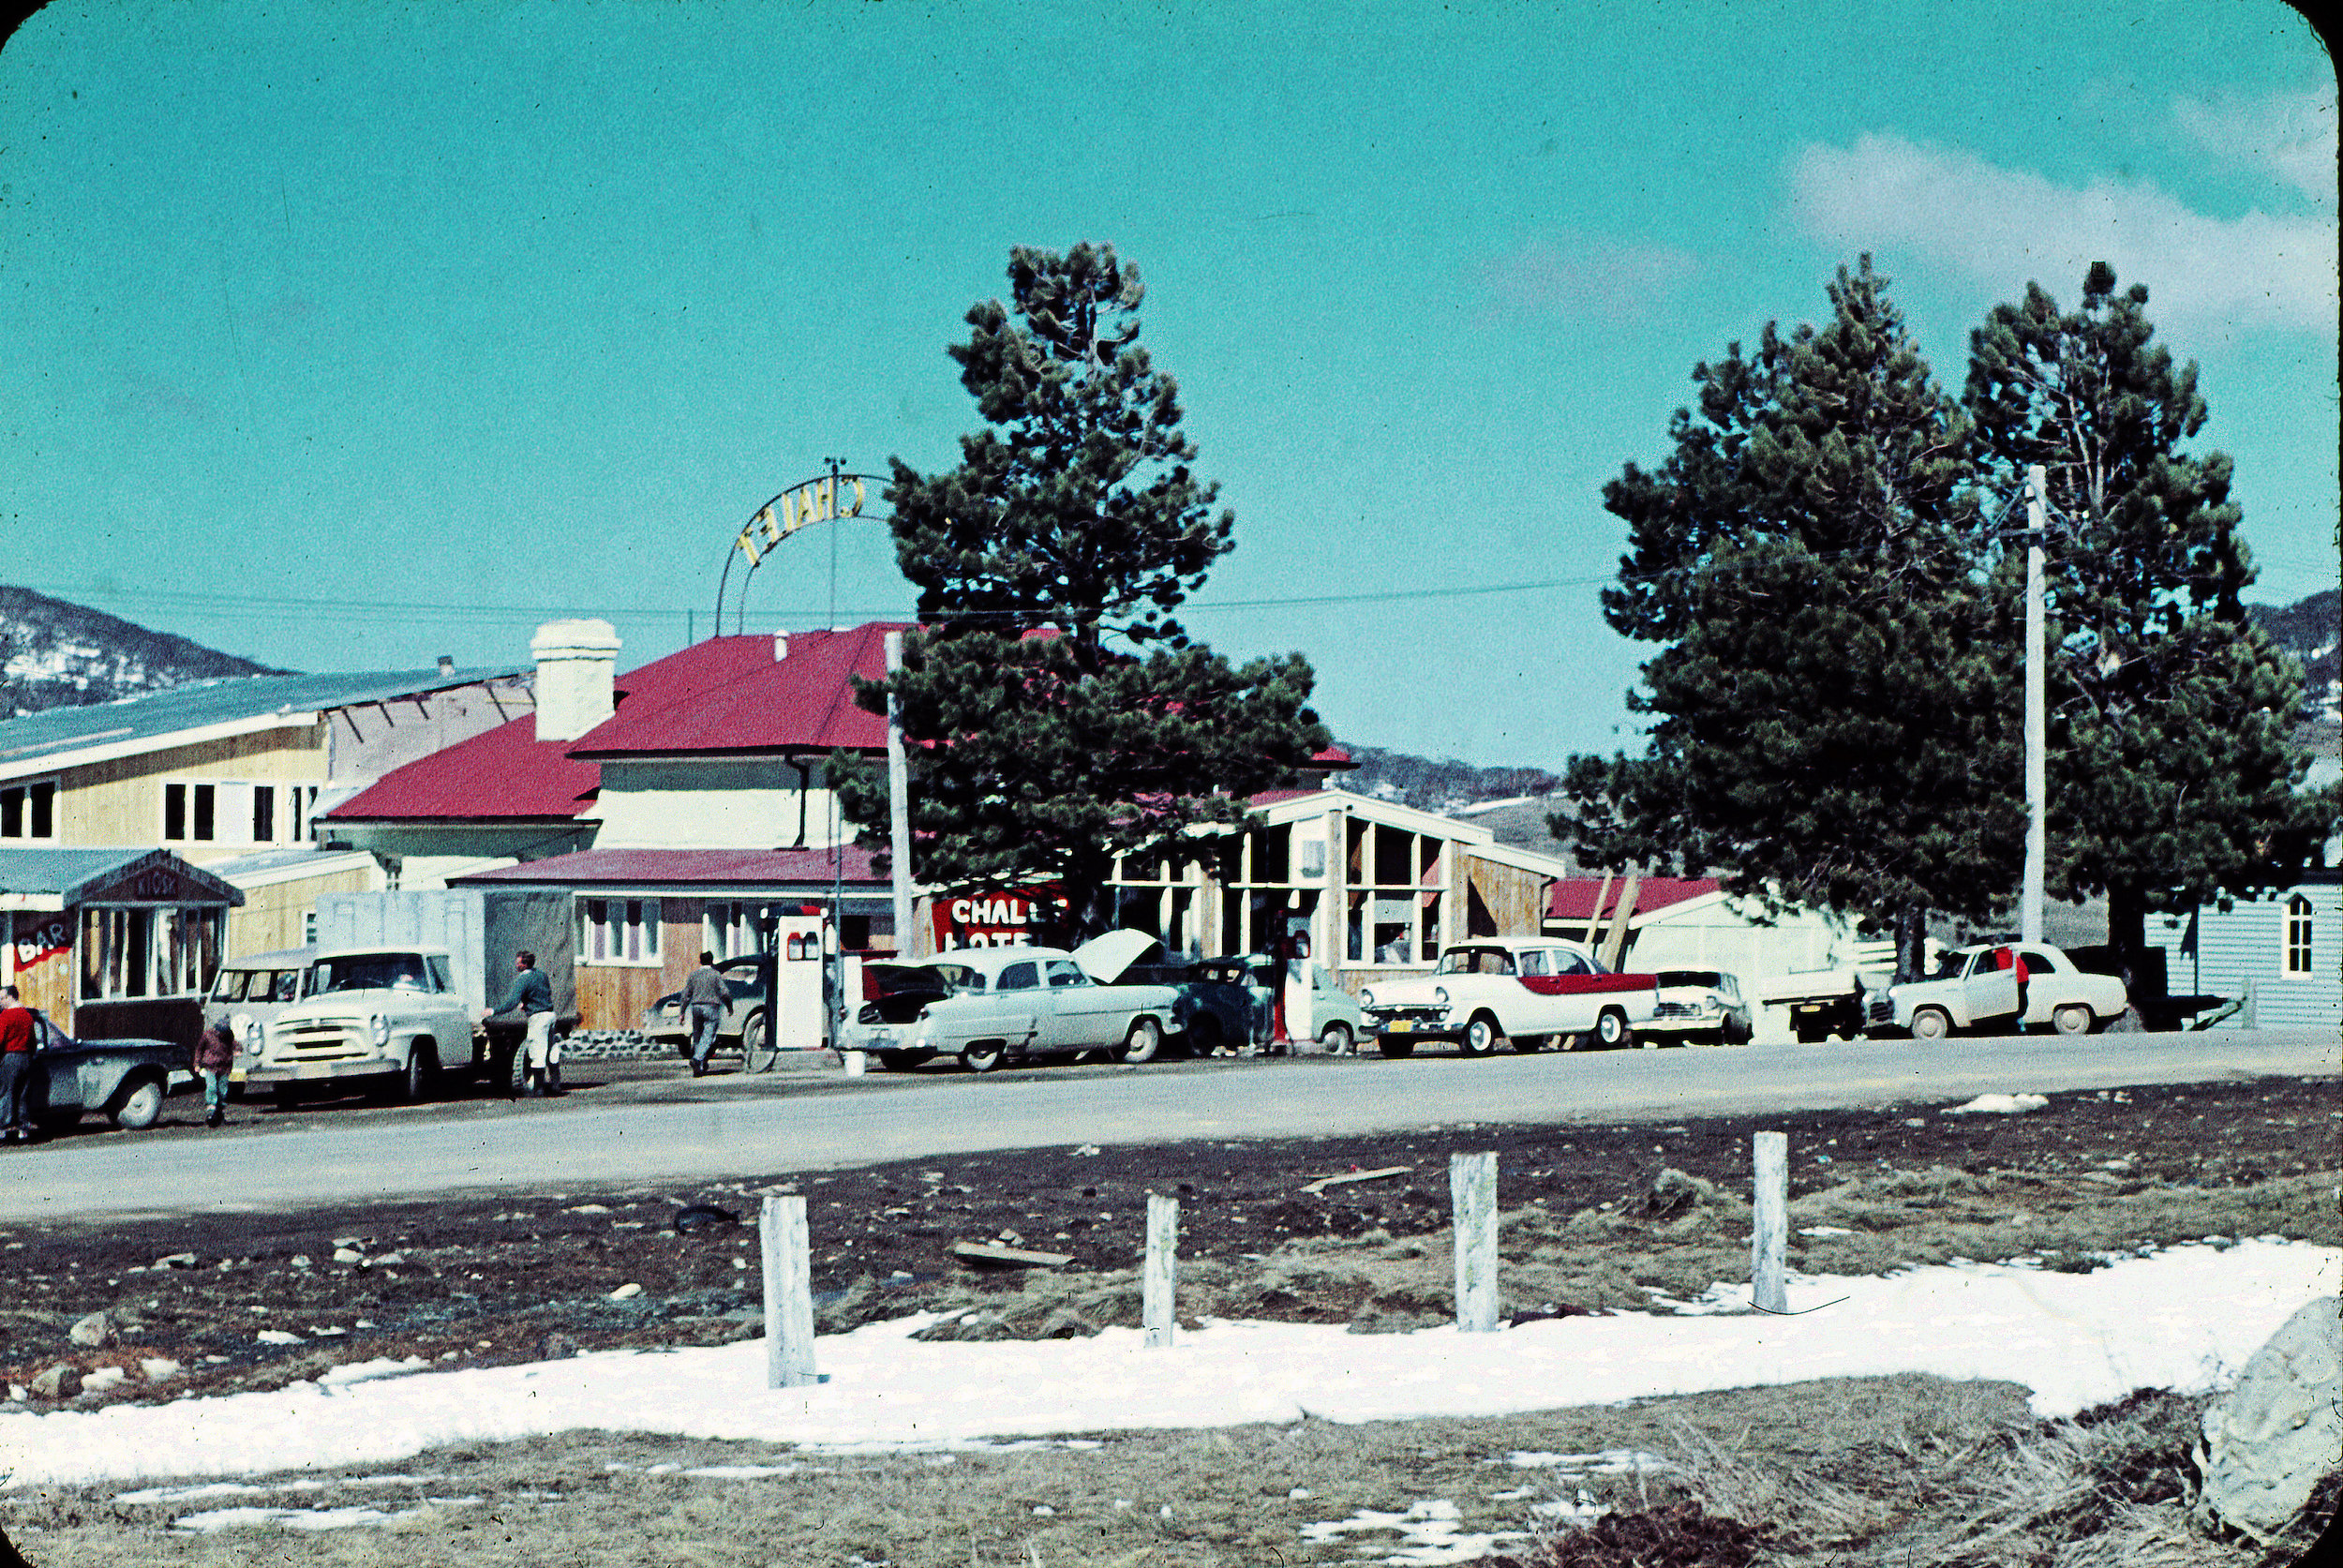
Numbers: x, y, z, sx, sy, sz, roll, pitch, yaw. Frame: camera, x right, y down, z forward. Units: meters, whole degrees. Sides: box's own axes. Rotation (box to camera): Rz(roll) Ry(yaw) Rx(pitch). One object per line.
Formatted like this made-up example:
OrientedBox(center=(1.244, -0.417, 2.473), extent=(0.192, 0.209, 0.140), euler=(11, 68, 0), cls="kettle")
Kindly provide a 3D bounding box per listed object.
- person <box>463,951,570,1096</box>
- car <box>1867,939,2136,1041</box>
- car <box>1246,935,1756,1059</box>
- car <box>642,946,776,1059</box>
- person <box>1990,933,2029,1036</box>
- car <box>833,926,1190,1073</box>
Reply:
OrientedBox(center=(-11.177, 4.048, 59.864), extent=(1.248, 2.449, 1.156), euler=(5, 10, 21), cls="person")
OrientedBox(center=(16.654, 4.339, 69.961), extent=(3.991, 1.550, 2.270), euler=(1, -4, -8), cls="car")
OrientedBox(center=(7.537, 4.317, 69.174), extent=(8.204, 2.315, 1.820), euler=(2, -9, -29), cls="car")
OrientedBox(center=(-9.021, 4.136, 65.449), extent=(2.585, 1.471, 1.545), euler=(3, -6, -23), cls="car")
OrientedBox(center=(16.713, 4.157, 69.615), extent=(0.571, 1.614, 1.087), euler=(-1, -1, -13), cls="person")
OrientedBox(center=(-2.918, 4.050, 64.981), extent=(5.021, 1.880, 2.432), euler=(-3, 3, -36), cls="car")
